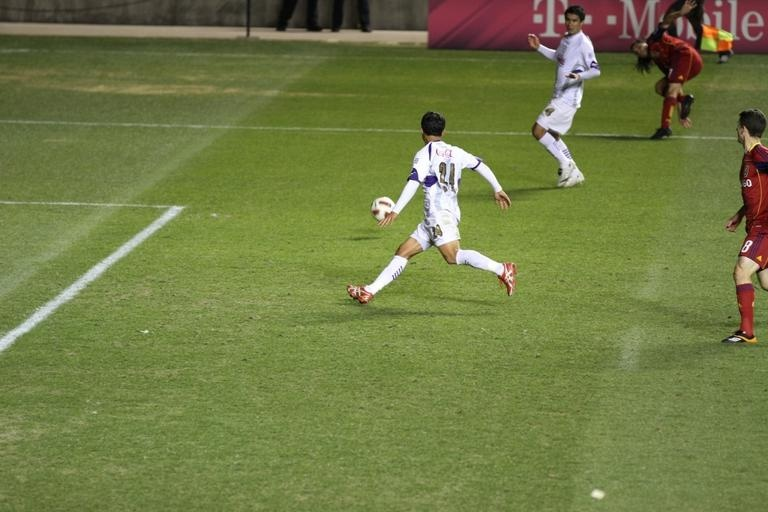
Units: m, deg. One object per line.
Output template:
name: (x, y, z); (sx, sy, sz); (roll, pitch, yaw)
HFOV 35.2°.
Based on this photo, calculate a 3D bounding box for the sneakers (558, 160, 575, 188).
sneakers: (2.255, -1.027, 15.103); (0.213, 0.338, 0.132); (6, 21, -15)

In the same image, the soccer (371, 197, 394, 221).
soccer: (-0.025, -0.514, 12.711); (0.285, 0.238, 0.301); (6, -10, -12)

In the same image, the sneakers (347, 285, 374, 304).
sneakers: (-0.200, 0.337, 10.811); (0.250, 0.119, 0.118); (10, -16, -40)

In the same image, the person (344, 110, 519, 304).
person: (0.493, -0.414, 10.920); (1.487, 1.743, 0.617); (3, 12, -2)

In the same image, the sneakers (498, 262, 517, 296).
sneakers: (1.146, 0.209, 10.998); (0.186, 0.302, 0.122); (-11, 21, -1)

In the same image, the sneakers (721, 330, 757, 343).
sneakers: (3.008, 0.685, 10.310); (0.322, 0.109, 0.105); (0, 2, 6)

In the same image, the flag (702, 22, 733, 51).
flag: (7.906, -5.272, 28.887); (1.091, 0.737, 0.224); (2, 27, 3)
